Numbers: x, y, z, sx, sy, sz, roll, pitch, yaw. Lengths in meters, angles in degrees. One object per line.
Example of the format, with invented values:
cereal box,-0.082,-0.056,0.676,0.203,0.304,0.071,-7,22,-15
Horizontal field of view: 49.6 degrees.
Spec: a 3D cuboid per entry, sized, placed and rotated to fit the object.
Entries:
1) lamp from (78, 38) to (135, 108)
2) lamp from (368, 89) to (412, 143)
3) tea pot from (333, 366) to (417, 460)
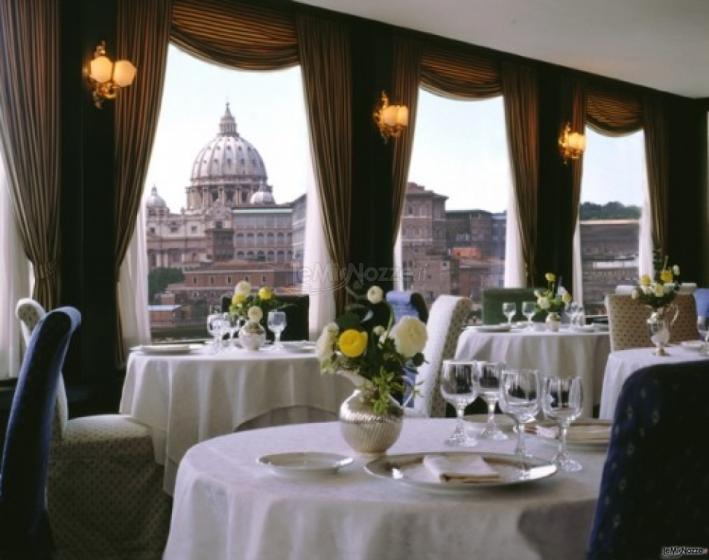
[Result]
lamp,-1.945,-1.592,5.912,0.294,0.710,0.500,3,3,21
lamp,0.322,-1.598,7.449,0.137,0.539,0.412,2,9,35
tea pot,0.061,0.467,2.597,0.228,0.290,0.201,5,-4,-16
